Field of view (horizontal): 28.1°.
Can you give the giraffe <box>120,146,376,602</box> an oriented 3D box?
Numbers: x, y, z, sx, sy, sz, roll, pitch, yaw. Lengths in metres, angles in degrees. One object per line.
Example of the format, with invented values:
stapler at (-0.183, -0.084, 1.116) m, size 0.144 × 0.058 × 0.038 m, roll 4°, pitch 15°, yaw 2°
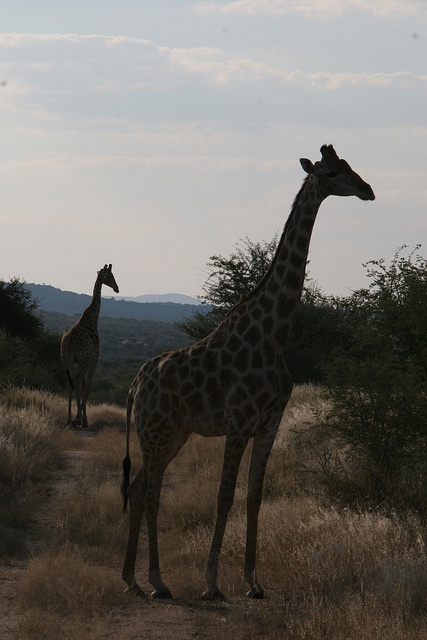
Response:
giraffe at (0.168, 0.494, 8.137) m, size 1.966 × 4.434 × 1.139 m, roll 4°, pitch 5°, yaw 1°
